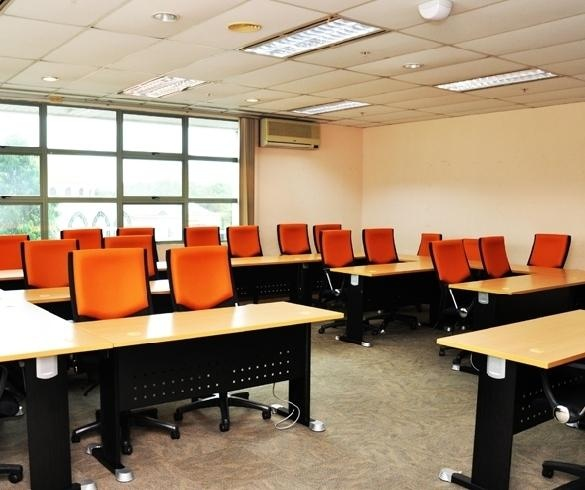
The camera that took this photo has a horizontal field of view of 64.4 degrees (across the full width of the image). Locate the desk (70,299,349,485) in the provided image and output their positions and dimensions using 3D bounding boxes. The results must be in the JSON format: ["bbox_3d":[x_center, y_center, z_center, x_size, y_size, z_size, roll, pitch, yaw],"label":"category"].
[{"bbox_3d":[-0.521,0.925,3.071,1.700,0.700,0.654,2,-9,-39],"label":"desk"}]

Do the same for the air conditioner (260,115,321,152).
[{"bbox_3d":[-0.052,-2.116,9.060,1.339,0.475,0.277,-5,4,-36],"label":"air conditioner"}]
